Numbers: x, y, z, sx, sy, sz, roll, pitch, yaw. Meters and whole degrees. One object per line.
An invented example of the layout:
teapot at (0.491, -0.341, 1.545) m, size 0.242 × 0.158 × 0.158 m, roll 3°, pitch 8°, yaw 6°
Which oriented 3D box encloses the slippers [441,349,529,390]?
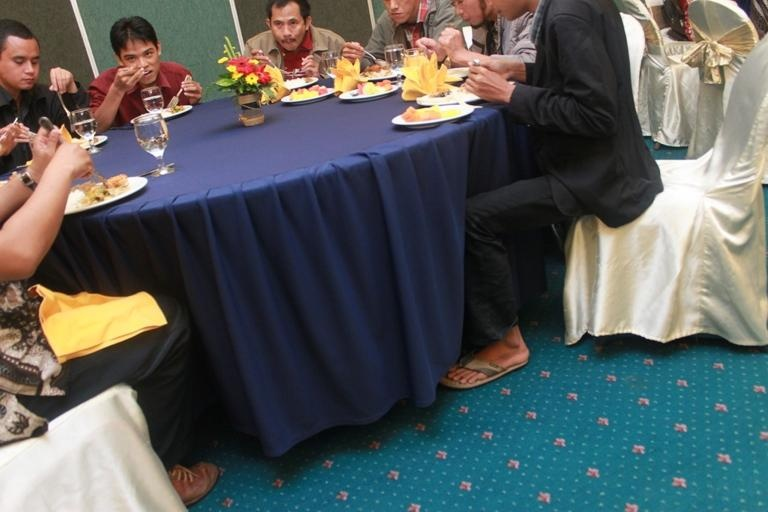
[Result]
slippers at (0.438, 0.479, 2.433) m, size 0.311 × 0.082 × 0.153 m, roll -12°, pitch 30°, yaw -6°

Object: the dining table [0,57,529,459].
dining table at (-0.473, -0.041, 2.961) m, size 1.872 × 1.075 × 1.913 m, roll -18°, pitch 22°, yaw -34°

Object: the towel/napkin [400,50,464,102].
towel/napkin at (0.195, -0.820, 2.645) m, size 0.211 × 0.106 × 0.200 m, roll -8°, pitch 8°, yaw -32°

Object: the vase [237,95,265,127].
vase at (-0.634, -0.686, 2.721) m, size 0.129 × 0.144 × 0.134 m, roll -9°, pitch 8°, yaw -9°

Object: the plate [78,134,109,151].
plate at (-1.409, -0.552, 2.790) m, size 0.119 × 0.030 × 0.127 m, roll 18°, pitch 34°, yaw 16°

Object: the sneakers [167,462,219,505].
sneakers at (-0.725, 0.854, 2.217) m, size 0.182 × 0.080 × 0.105 m, roll -32°, pitch 49°, yaw -23°

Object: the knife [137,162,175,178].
knife at (-0.885, -0.339, 2.253) m, size 0.157 × 0.020 × 0.067 m, roll -3°, pitch 54°, yaw 14°

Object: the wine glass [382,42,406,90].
wine glass at (0.063, -0.991, 2.938) m, size 0.122 × 0.217 × 0.139 m, roll 5°, pitch 50°, yaw 17°

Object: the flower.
flower at (-0.674, -0.850, 2.587) m, size 0.245 × 0.259 × 0.244 m, roll -21°, pitch 35°, yaw -12°

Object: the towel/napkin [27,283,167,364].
towel/napkin at (-0.975, 0.134, 1.928) m, size 0.302 × 0.116 × 0.302 m, roll -24°, pitch 45°, yaw -33°

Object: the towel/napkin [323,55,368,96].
towel/napkin at (-0.210, -0.976, 2.997) m, size 0.190 × 0.125 × 0.058 m, roll -50°, pitch 7°, yaw -4°

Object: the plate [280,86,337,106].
plate at (-0.426, -0.838, 3.010) m, size 0.180 × 0.027 × 0.177 m, roll 14°, pitch 40°, yaw 32°

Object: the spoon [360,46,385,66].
spoon at (-0.091, -1.291, 3.688) m, size 0.084 × 0.050 × 0.330 m, roll -15°, pitch 40°, yaw -16°
